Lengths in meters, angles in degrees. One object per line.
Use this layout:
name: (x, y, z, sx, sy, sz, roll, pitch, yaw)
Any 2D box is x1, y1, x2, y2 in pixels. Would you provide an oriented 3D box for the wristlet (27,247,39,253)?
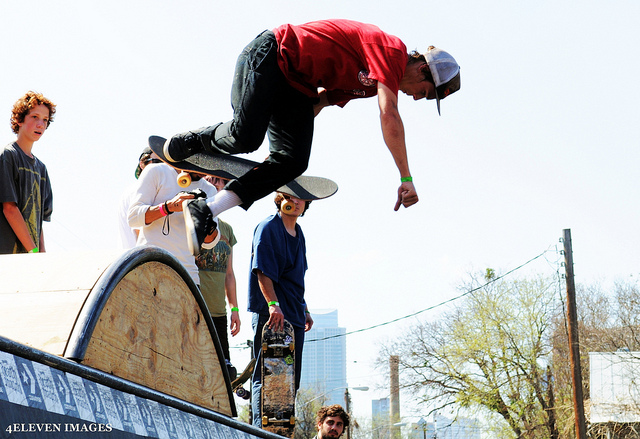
wristlet: (-3.181, 0.354, 10.711, 0.077, 0.042, 0.102, -24, -8, 41)

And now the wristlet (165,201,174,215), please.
wristlet: (-1.651, -0.106, 10.567, 0.081, 0.130, 0.253, 2, -13, -8)

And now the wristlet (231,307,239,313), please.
wristlet: (-1.143, 1.210, 12.867, 0.112, 0.067, 0.057, 10, -16, -36)

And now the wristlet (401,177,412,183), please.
wristlet: (0.894, -0.412, 9.945, 0.103, 0.047, 0.031, -1, -12, 5)

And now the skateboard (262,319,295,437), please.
skateboard: (-0.478, 1.861, 11.206, 0.392, 1.333, 0.191, 2, -11, -10)

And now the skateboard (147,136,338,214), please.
skateboard: (-0.983, -0.504, 10.307, 1.378, 0.373, 0.232, 22, -64, -6)

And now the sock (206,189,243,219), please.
sock: (-1.026, -0.178, 10.183, 0.361, 0.310, 0.246, -6, -14, 26)
